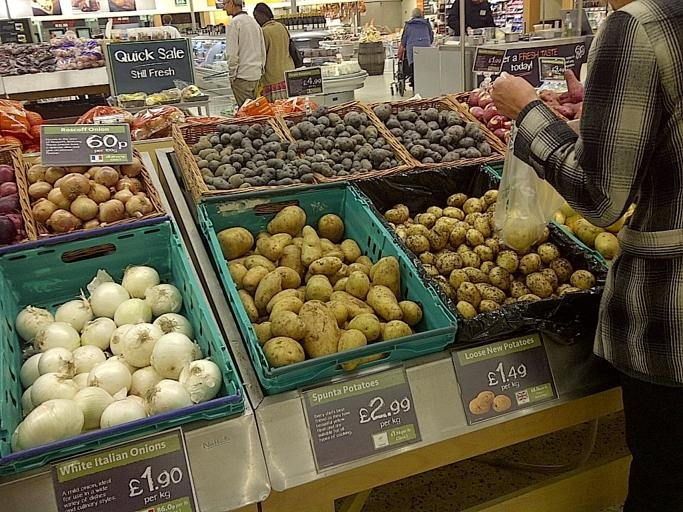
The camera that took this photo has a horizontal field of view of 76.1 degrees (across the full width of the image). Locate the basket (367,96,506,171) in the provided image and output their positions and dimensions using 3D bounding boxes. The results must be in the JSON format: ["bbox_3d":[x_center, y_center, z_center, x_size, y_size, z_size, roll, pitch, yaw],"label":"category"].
[{"bbox_3d":[0.509,-0.700,2.428,0.486,0.173,0.637,-11,44,-16],"label":"basket"}]

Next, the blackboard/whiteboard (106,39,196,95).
[{"bbox_3d":[-2.361,-2.365,5.460,0.959,0.627,0.124,-13,40,-21],"label":"blackboard/whiteboard"}]

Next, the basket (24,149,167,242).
[{"bbox_3d":[-0.997,-0.247,1.862,0.482,0.137,0.427,-12,58,-30],"label":"basket"}]

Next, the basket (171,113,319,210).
[{"bbox_3d":[-0.571,-0.544,2.492,0.687,0.185,0.633,-8,50,-25],"label":"basket"}]

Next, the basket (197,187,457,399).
[{"bbox_3d":[-0.107,0.078,1.667,0.717,0.204,0.862,-11,48,-23],"label":"basket"}]

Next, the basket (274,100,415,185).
[{"bbox_3d":[0.020,-0.607,2.322,0.534,0.182,0.612,-14,46,-17],"label":"basket"}]
